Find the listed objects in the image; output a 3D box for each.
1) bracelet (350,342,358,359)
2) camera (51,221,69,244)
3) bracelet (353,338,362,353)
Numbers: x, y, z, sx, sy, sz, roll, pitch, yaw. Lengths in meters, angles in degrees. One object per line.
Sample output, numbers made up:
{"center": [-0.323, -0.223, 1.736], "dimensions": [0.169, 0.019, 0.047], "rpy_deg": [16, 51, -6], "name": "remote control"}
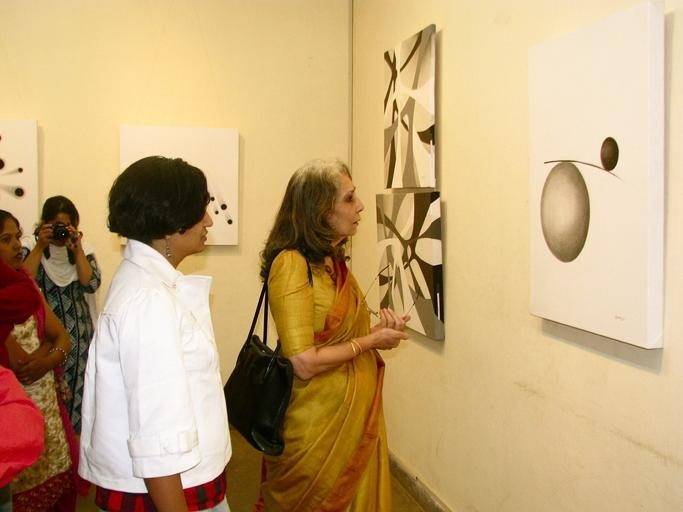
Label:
{"center": [0.054, 0.413, 2.224], "dimensions": [0.019, 0.055, 0.044], "rpy_deg": [-4, 3, -10], "name": "bracelet"}
{"center": [-1.858, -0.157, 3.396], "dimensions": [0.095, 0.116, 0.102], "rpy_deg": [2, -6, -34], "name": "camera"}
{"center": [0.066, 0.394, 2.235], "dimensions": [0.016, 0.050, 0.046], "rpy_deg": [1, -25, -16], "name": "bracelet"}
